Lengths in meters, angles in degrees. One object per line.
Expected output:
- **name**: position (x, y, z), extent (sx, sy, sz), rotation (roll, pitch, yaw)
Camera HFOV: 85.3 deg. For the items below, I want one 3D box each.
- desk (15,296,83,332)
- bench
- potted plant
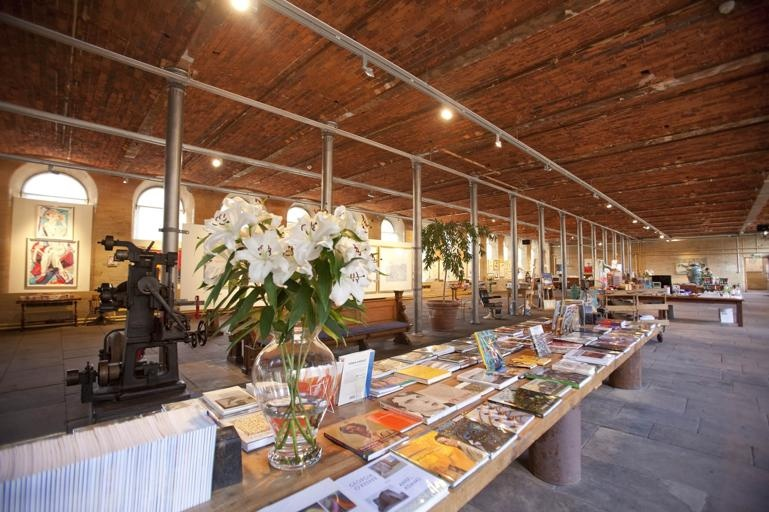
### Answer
- **desk**: position (-9.064, 1.523, 11.224), extent (1.388, 0.670, 0.738), rotation (-1, -9, -38)
- **bench**: position (-0.835, 1.298, 7.851), extent (0.759, 0.954, 3.481), rotation (16, 9, 42)
- **potted plant**: position (1.716, 0.000, 10.770), extent (1.977, 1.733, 1.660), rotation (8, 7, 6)
